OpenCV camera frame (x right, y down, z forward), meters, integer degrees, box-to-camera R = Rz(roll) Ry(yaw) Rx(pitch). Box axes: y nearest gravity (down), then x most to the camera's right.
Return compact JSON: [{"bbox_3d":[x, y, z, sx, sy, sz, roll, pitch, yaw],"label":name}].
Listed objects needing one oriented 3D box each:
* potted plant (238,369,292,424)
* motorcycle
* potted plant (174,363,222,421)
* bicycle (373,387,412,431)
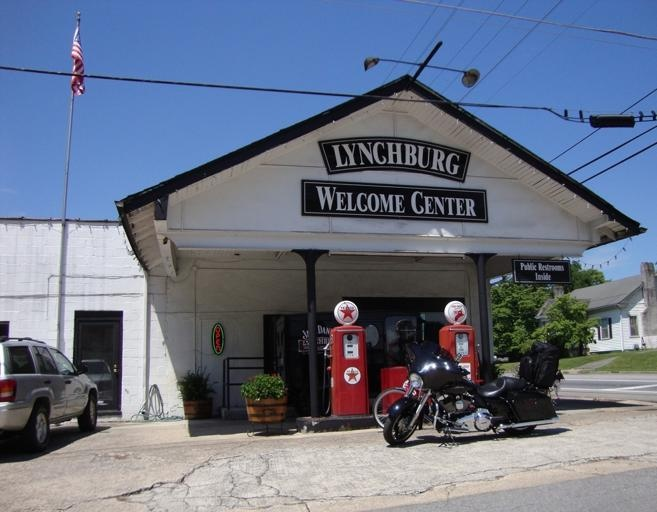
[{"bbox_3d":[-1.281,2.885,12.510,0.917,0.936,0.956,-1,-9,6],"label":"potted plant"},{"bbox_3d":[2.519,2.394,10.917,3.194,1.729,1.484,1,-9,-10],"label":"motorcycle"},{"bbox_3d":[-3.379,3.652,15.943,0.948,1.134,0.980,3,-12,-33],"label":"potted plant"},{"bbox_3d":[1.351,2.927,12.402,0.326,1.041,1.038,8,6,40],"label":"bicycle"}]
